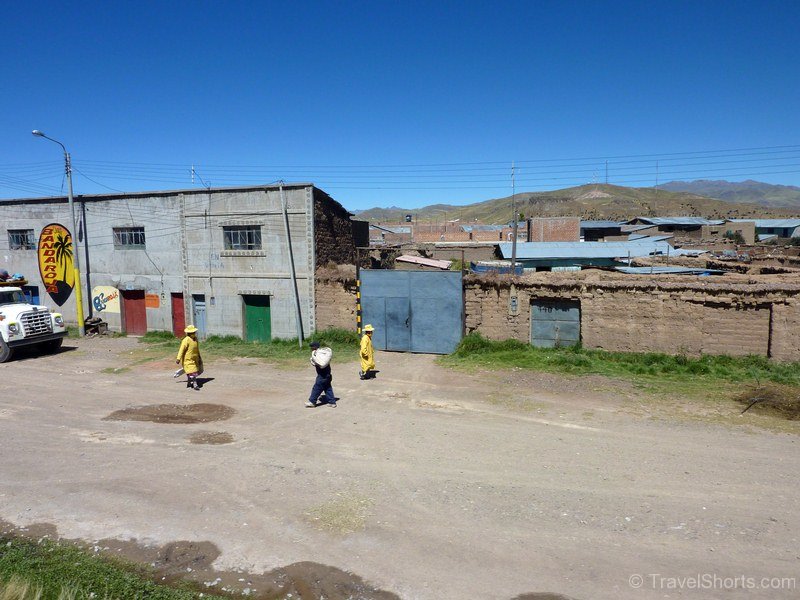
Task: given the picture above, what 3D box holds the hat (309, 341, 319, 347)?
[{"bbox_3d":[-2.349,1.276,21.066,0.302,0.126,0.341,-1,5,-7],"label":"hat"}]
